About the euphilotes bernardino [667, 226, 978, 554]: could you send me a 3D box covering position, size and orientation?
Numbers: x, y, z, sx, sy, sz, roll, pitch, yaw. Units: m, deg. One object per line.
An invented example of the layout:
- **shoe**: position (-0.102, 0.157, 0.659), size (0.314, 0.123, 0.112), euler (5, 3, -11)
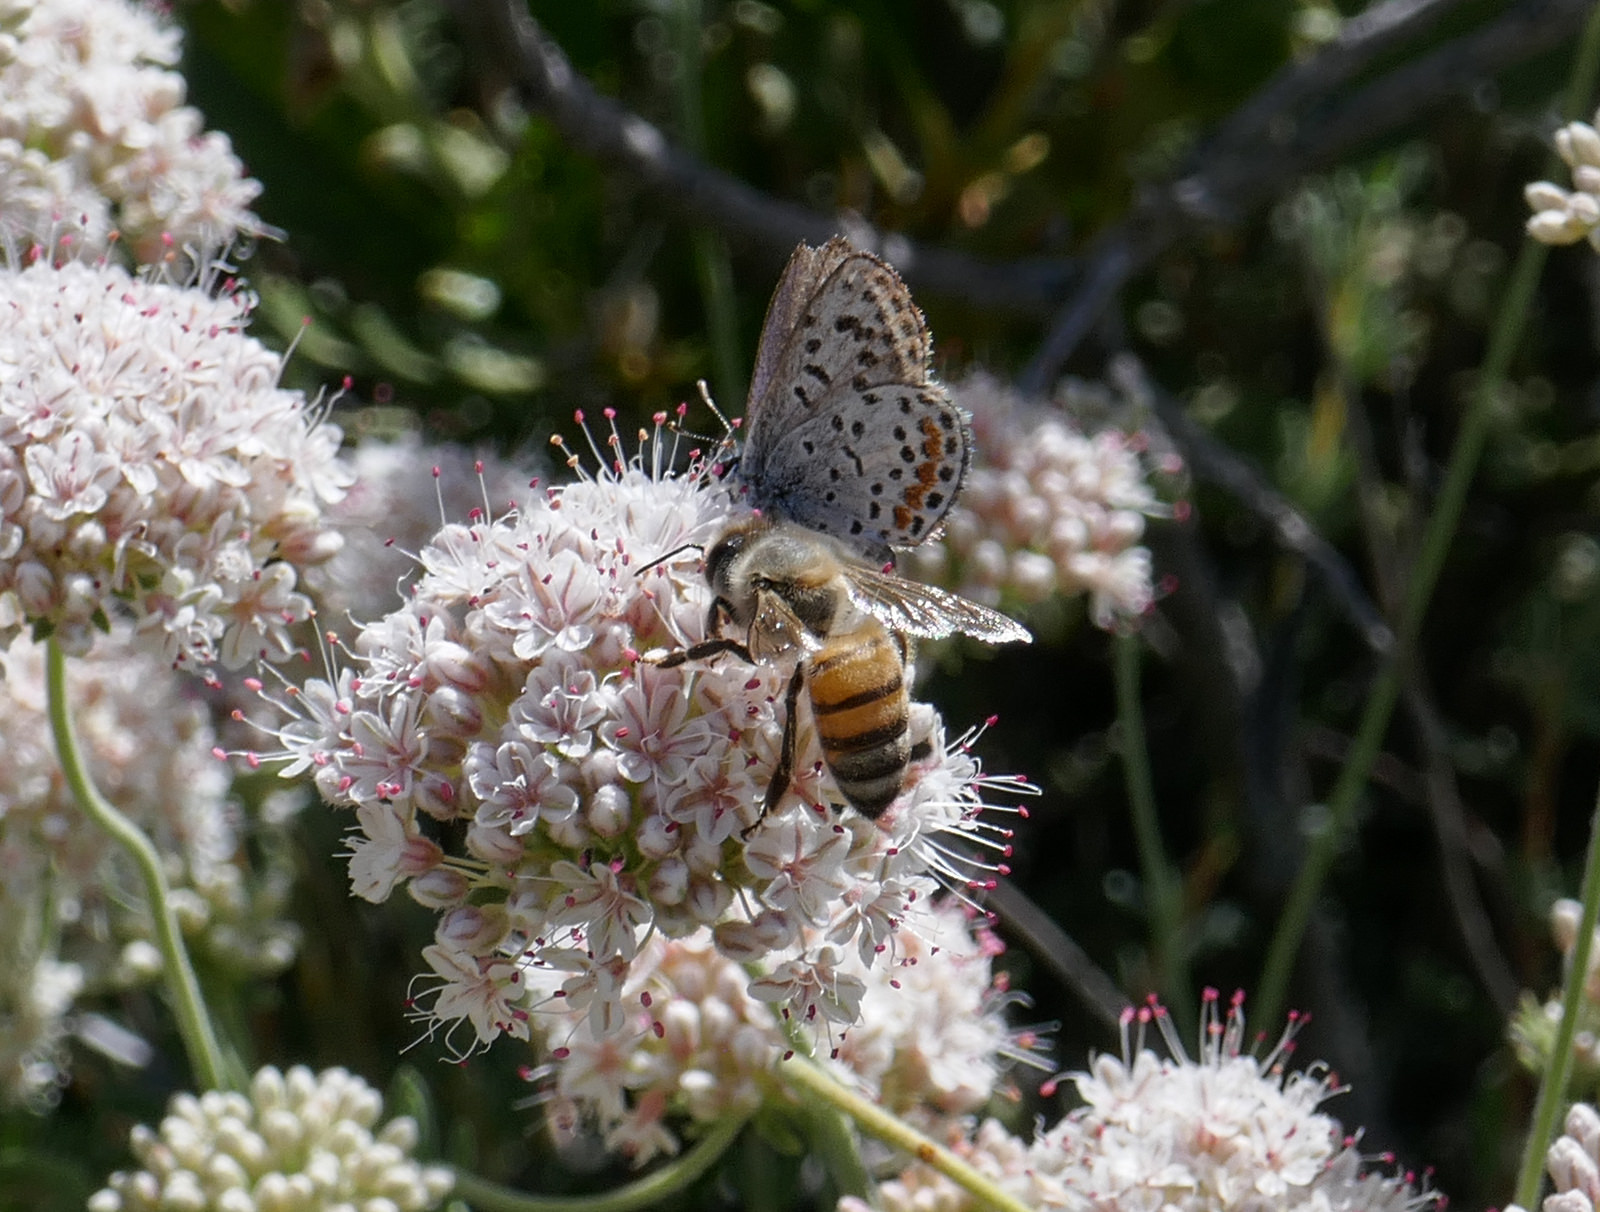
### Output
- **euphilotes bernardino**: position (0.081, -0.565, 4.956), size (0.779, 0.542, 0.711), euler (-14, 111, -36)
